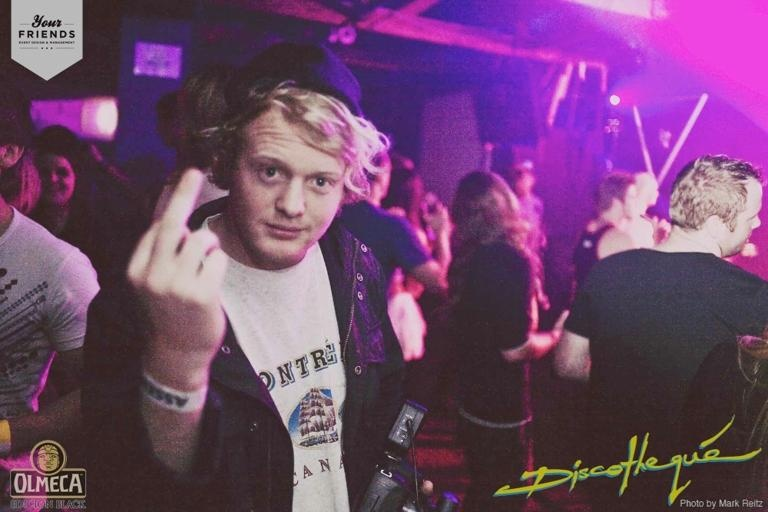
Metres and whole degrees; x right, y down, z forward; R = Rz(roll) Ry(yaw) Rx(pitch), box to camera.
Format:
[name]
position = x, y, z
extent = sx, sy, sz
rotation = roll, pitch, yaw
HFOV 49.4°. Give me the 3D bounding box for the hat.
[hat]
position = -0.496, -1.242, 5.522
extent = 0.849, 0.333, 0.638
rotation = 17, 8, -18
